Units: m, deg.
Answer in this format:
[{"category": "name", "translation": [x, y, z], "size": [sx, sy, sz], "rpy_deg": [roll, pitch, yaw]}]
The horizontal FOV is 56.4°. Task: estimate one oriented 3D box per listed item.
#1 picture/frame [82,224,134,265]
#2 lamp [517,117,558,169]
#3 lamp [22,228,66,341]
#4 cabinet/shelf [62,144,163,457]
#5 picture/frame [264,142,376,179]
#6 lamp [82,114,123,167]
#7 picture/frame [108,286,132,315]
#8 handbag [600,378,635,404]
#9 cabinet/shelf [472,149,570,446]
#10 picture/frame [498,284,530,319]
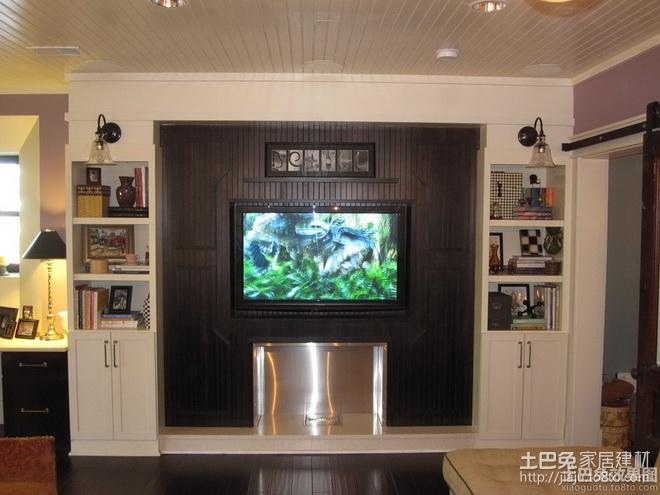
[{"category": "picture/frame", "translation": [-2.098, -0.036, 5.729], "size": [0.363, 0.315, 0.036], "rpy_deg": [2, -5, -3]}, {"category": "lamp", "translation": [1.837, -0.948, 5.431], "size": [0.315, 0.476, 0.438], "rpy_deg": [0, 0, 10]}, {"category": "lamp", "translation": [-2.691, 0.295, 5.885], "size": [0.405, 0.861, 0.416], "rpy_deg": [2, 4, 24]}, {"category": "cabinet/shelf", "translation": [-1.984, 0.480, 5.705], "size": [0.826, 2.823, 0.346], "rpy_deg": [0, 0, 1]}, {"category": "picture/frame", "translation": [-0.094, -0.822, 5.707], "size": [1.005, 0.301, 0.076], "rpy_deg": [0, 0, 2]}, {"category": "lamp", "translation": [-1.985, -0.960, 5.380], "size": [0.279, 0.496, 0.466], "rpy_deg": [0, 0, -17]}, {"category": "picture/frame", "translation": [-1.965, 0.493, 5.729], "size": [0.255, 0.345, 0.034], "rpy_deg": [0, -14, -4]}, {"category": "handbag", "translation": [2.742, 1.373, 5.872], "size": [0.266, 0.071, 0.267], "rpy_deg": [-18, 13, 13]}, {"category": "cabinet/shelf", "translation": [1.734, 0.560, 5.761], "size": [0.764, 2.578, 0.280], "rpy_deg": [2, -3, -15]}, {"category": "picture/frame", "translation": [1.718, 0.507, 5.778], "size": [0.310, 0.353, 0.017], "rpy_deg": [0, -10, -2]}]
